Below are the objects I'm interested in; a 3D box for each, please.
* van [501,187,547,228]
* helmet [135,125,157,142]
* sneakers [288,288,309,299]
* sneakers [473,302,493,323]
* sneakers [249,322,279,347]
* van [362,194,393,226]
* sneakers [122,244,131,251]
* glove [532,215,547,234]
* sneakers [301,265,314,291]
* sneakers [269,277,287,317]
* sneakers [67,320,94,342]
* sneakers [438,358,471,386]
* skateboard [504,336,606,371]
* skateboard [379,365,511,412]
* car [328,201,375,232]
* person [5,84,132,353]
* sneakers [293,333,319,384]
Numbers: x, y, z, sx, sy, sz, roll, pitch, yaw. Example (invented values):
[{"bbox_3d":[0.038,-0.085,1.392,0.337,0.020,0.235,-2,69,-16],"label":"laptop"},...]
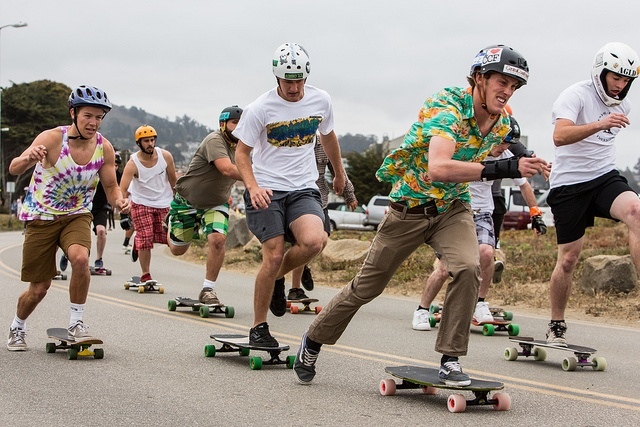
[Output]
[{"bbox_3d":[6.812,-0.143,22.785,1.439,1.565,2.606,0,9,8],"label":"van"},{"bbox_3d":[-3.162,-1.487,12.378,0.300,0.389,0.394,-4,0,-30],"label":"helmet"},{"bbox_3d":[-0.341,1.309,10.922,0.343,0.147,0.130,0,-6,4],"label":"sneakers"},{"bbox_3d":[2.343,1.447,10.030,0.284,0.285,0.632,1,-5,-10],"label":"sneakers"},{"bbox_3d":[-0.619,1.370,7.509,0.170,0.197,0.405,4,-5,-33],"label":"sneakers"},{"bbox_3d":[2.907,-0.113,35.085,2.186,1.280,1.340,-2,5,-1],"label":"van"},{"bbox_3d":[-5.819,1.020,20.427,0.168,0.202,0.448,0,-6,-40],"label":"sneakers"},{"bbox_3d":[2.907,0.154,9.023,0.177,0.251,0.111,-32,-8,-43],"label":"glove"},{"bbox_3d":[-0.233,1.101,11.243,0.161,0.517,0.195,-10,3,10],"label":"sneakers"},{"bbox_3d":[-0.505,1.024,8.285,0.152,0.494,0.203,-8,10,-12],"label":"sneakers"},{"bbox_3d":[-2.730,1.344,7.731,0.153,0.180,0.386,2,-5,-40],"label":"sneakers"},{"bbox_3d":[1.245,1.504,6.385,0.145,0.177,0.370,2,-4,-25],"label":"sneakers"},{"bbox_3d":[2.770,1.660,8.008,0.430,0.245,0.964,2,-3,-35],"label":"skateboard"},{"bbox_3d":[1.184,1.674,6.528,0.490,0.249,1.008,3,0,-42],"label":"skateboard"},{"bbox_3d":[1.544,0.136,36.043,2.127,1.157,1.296,-2,2,1],"label":"car"},{"bbox_3d":[-2.928,0.107,7.747,1.223,3.175,1.075,6,0,-31],"label":"person"},{"bbox_3d":[-0.155,1.545,7.043,0.190,0.601,0.240,-2,2,-21],"label":"sneakers"}]
